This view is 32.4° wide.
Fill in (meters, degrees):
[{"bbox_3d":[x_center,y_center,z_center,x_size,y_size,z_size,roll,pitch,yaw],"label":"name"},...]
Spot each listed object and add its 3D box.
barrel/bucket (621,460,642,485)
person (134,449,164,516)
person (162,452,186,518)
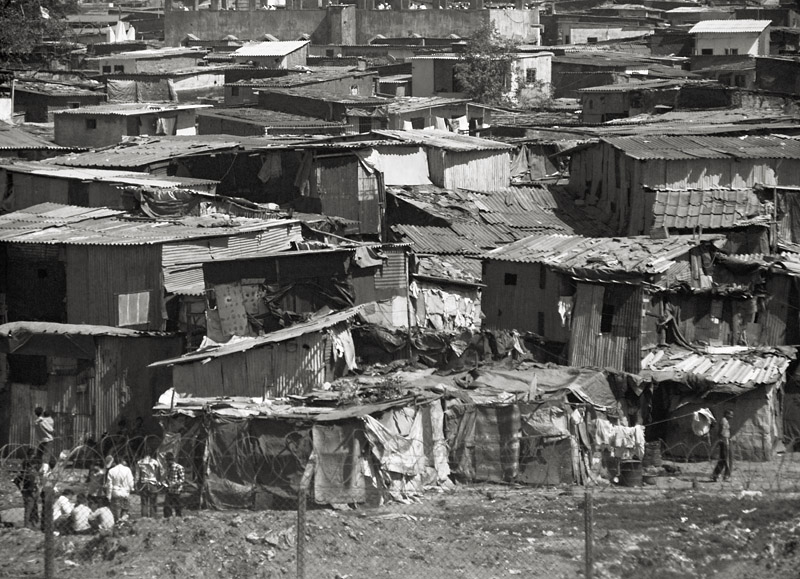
[{"bbox_3d":[4.126,3.301,24.891,0.412,0.441,0.412,-1,-9,0],"label":"barrel/bucket"},{"bbox_3d":[-4.216,3.271,23.050,0.421,0.924,0.637,-1,3,-11],"label":"person"},{"bbox_3d":[-3.794,3.312,23.076,0.363,0.883,0.714,-1,3,-9],"label":"person"}]
